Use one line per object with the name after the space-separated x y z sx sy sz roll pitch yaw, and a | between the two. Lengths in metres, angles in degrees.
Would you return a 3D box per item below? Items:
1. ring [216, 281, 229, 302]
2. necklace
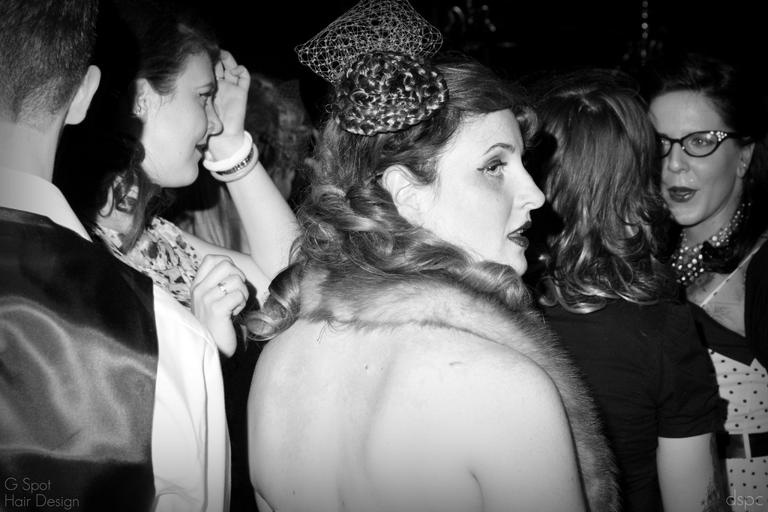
-0.565 0.116 2.859 0.042 0.046 0.011 9 -8 2 | ring
1.363 -0.019 3.493 0.266 0.370 0.145 -13 -10 0 | necklace
